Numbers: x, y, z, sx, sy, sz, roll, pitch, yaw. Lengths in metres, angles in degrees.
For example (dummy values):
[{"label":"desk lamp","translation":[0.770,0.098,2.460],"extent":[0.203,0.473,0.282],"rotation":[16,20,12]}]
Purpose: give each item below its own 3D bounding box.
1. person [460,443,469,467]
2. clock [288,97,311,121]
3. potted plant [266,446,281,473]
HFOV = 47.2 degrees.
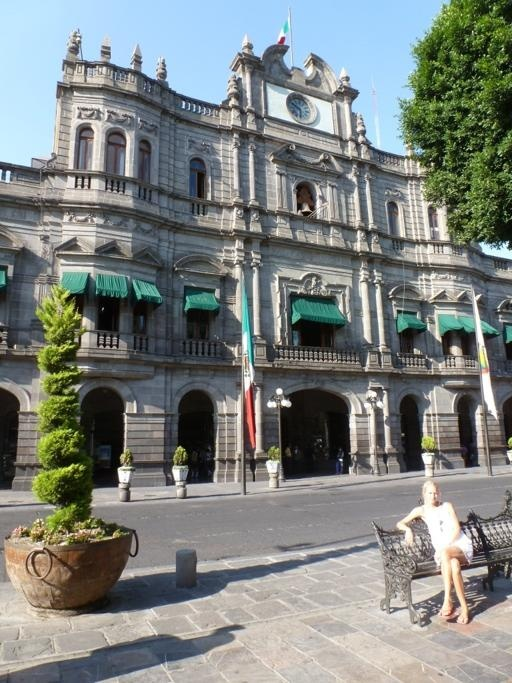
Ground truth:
[{"label":"person","translation":[11.353,6.250,31.874],"extent":[0.335,1.101,2.967],"rotation":[-9,-14,18]},{"label":"clock","translation":[2.201,-12.060,30.389],"extent":[0.115,1.364,1.432],"rotation":[-15,6,41]},{"label":"potted plant","translation":[0.667,4.557,22.574],"extent":[0.464,0.972,1.008],"rotation":[-5,-13,3]}]
